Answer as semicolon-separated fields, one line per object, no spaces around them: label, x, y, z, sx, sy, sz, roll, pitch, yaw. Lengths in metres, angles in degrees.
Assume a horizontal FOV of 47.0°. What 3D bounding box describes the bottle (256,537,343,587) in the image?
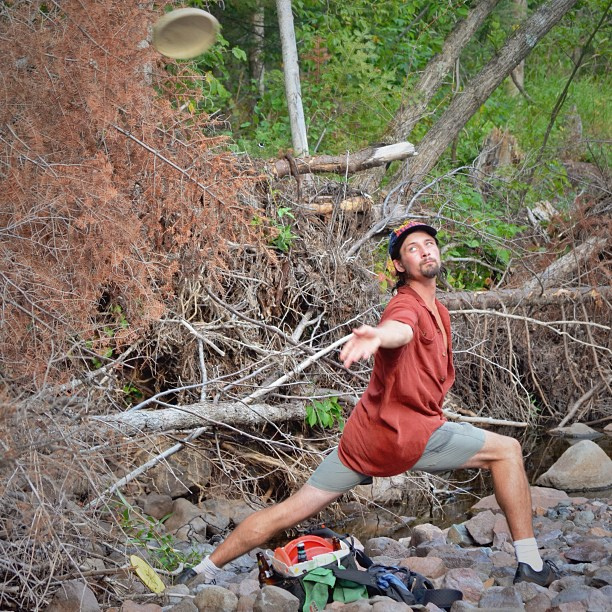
bottle;-0.033;1.400;3.807;0.388;0.113;0.285;-18;17;-21

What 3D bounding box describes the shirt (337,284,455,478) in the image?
shirt;0.528;0.404;4.103;0.720;0.990;0.653;8;12;9

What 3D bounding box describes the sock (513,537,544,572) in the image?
sock;1.236;1.360;3.834;0.150;0.141;0.141;-5;31;0

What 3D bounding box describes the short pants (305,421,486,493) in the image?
short pants;0.456;0.834;4.148;0.847;0.492;0.702;3;8;-30

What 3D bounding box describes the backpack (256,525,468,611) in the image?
backpack;0.183;1.406;3.688;0.681;0.254;0.511;-4;-5;29

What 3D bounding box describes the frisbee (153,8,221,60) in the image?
frisbee;-0.641;-1.452;3.737;0.316;0.287;0.073;-11;61;-3

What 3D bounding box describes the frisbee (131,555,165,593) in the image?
frisbee;-0.884;1.507;3.940;0.119;0.206;0.197;-23;35;-26

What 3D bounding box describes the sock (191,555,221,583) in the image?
sock;-0.577;1.534;4.105;0.134;0.130;0.150;3;6;4
